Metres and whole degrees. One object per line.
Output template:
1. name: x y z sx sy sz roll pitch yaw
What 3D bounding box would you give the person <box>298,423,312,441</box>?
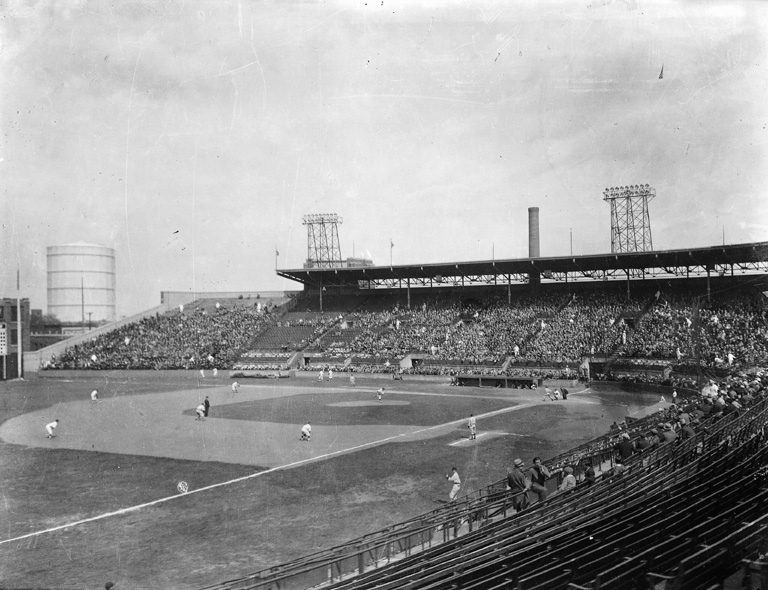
1. person: -4.483 7.876 69.736 0.704 0.891 2.285 -1 -3 -4

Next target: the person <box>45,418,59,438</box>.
1. person: -19.419 7.800 70.790 0.785 0.989 3.362 -1 -3 -16

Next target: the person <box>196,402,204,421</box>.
1. person: -11.450 7.264 75.658 0.458 0.915 1.816 -1 -3 -12

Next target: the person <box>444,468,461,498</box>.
1. person: 3.369 9.270 59.343 0.584 1.511 0.779 10 -26 -6
